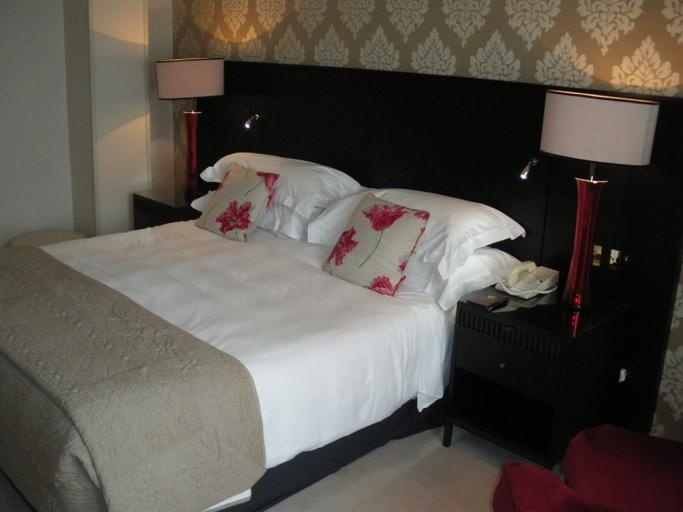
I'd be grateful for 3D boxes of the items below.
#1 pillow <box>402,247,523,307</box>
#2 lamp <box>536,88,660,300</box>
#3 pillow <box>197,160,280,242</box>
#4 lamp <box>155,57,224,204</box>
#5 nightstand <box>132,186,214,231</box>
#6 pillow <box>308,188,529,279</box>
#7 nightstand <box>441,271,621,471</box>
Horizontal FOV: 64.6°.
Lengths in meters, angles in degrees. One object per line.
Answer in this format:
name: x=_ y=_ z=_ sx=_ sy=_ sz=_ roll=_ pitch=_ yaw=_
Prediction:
pillow: x=0.633 y=0.101 z=2.804 sx=0.374 sy=0.110 sz=0.369 roll=-17 pitch=30 yaw=-28
lamp: x=1.182 y=-0.253 z=2.581 sx=0.478 sy=1.060 sz=0.492 roll=14 pitch=25 yaw=35
pillow: x=-0.640 y=-0.319 z=3.390 sx=0.138 sy=0.473 sz=0.469 roll=28 pitch=-1 yaw=-41
lamp: x=-1.172 y=-1.000 z=4.241 sx=0.509 sy=1.059 sz=0.435 roll=15 pitch=18 yaw=40
nightstand: x=-1.329 y=-0.369 z=4.274 sx=0.522 sy=0.385 sz=0.292 roll=-6 pitch=8 yaw=-22
pillow: x=0.365 y=-0.229 z=2.951 sx=0.778 sy=0.235 sz=0.611 roll=25 pitch=35 yaw=32
nightstand: x=0.939 y=0.669 z=2.681 sx=0.601 sy=0.812 sz=0.629 roll=4 pitch=6 yaw=-33
